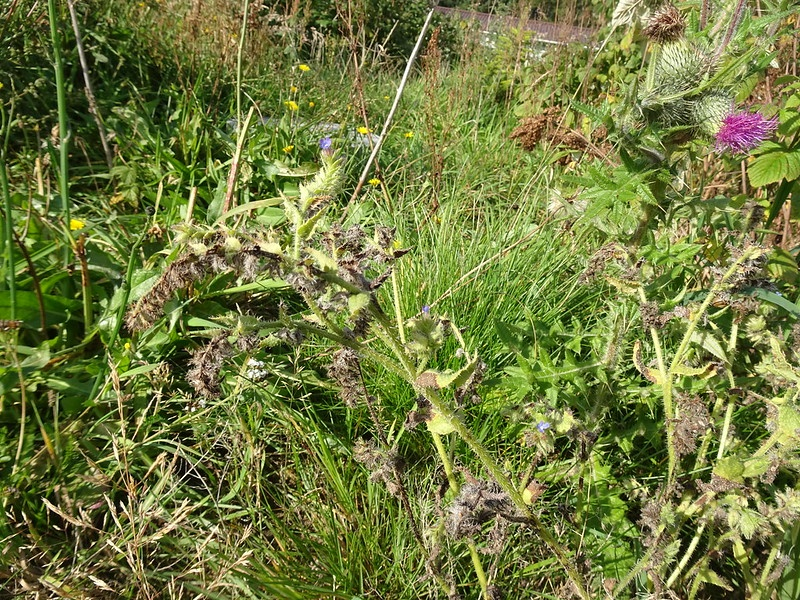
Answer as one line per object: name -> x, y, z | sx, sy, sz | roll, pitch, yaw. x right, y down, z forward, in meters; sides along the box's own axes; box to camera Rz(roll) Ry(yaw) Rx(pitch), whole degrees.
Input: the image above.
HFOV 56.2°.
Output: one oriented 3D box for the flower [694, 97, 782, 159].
flower -> 1.302, -0.657, 2.865 | 0.121, 0.246, 0.225 | 21, 13, 5
